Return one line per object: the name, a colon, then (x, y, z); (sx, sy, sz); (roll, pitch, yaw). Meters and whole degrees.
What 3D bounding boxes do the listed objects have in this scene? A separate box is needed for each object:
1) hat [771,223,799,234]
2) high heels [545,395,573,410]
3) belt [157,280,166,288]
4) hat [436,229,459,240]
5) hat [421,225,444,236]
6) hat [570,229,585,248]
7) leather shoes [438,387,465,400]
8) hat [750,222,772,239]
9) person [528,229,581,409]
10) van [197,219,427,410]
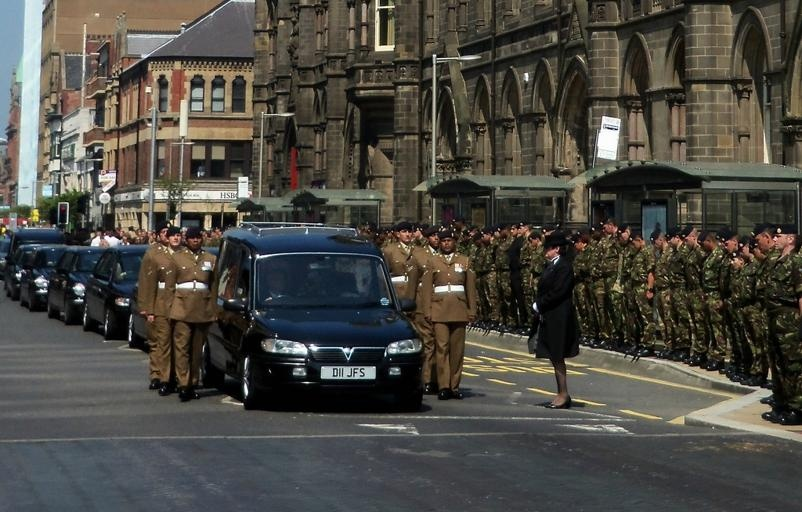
hat: (6.194, -0.443, 22.204); (0.335, 0.125, 0.326); (0, 1, 8)
high heels: (2.603, 2.505, 23.326); (0.535, 0.211, 0.175); (4, -3, -7)
belt: (-4.082, 0.492, 23.596); (0.193, 0.175, 0.103); (0, -2, 2)
hat: (0.805, -0.390, 24.706); (0.334, 0.133, 0.375); (0, -1, -2)
hat: (0.581, -0.477, 25.498); (0.332, 0.145, 0.372); (-1, 4, -10)
hat: (3.787, -0.373, 29.671); (0.278, 0.334, 0.341); (-5, 24, -10)
leather shoes: (0.826, 2.373, 23.820); (0.503, 0.200, 0.165); (-12, 10, -9)
hat: (6.064, -0.438, 23.201); (0.333, 0.247, 0.233); (-17, 9, -26)
person: (2.585, 1.066, 23.397); (0.786, 3.019, 0.503); (0, -2, 5)
van: (-1.808, 0.935, 23.653); (2.313, 1.950, 3.920); (1, -3, -18)
